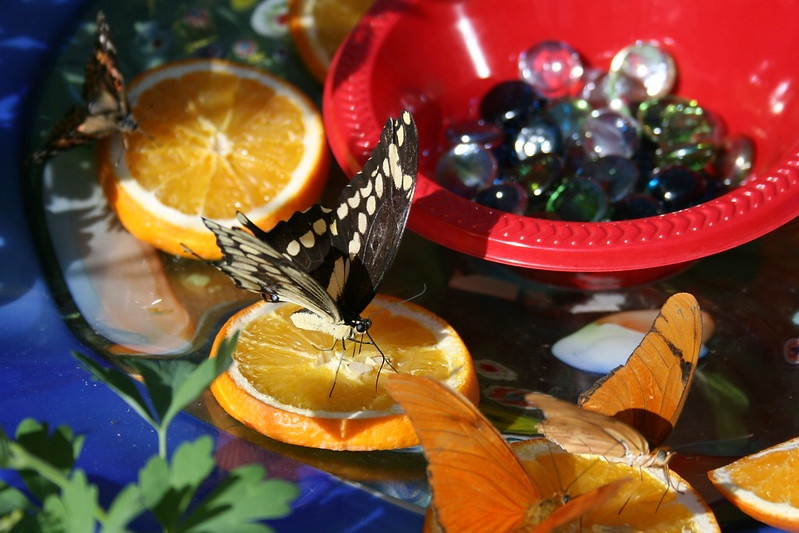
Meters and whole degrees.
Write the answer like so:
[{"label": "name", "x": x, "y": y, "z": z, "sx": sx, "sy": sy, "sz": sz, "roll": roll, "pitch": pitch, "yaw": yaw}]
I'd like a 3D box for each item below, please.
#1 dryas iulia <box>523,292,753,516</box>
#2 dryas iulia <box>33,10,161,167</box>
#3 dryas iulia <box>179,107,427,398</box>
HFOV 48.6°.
[{"label": "dryas iulia", "x": 0.387, "y": 0.233, "z": 1.556, "sx": 0.318, "sy": 0.243, "sz": 0.329, "roll": -24, "pitch": 51, "yaw": -23}, {"label": "dryas iulia", "x": -0.624, "y": -0.346, "z": 1.764, "sx": 0.134, "sy": 0.291, "sz": 0.178, "roll": 17, "pitch": 25, "yaw": 14}, {"label": "dryas iulia", "x": -0.173, "y": -0.051, "z": 1.630, "sx": 0.370, "sy": 0.505, "sz": 0.217, "roll": 5, "pitch": 25, "yaw": -15}]
